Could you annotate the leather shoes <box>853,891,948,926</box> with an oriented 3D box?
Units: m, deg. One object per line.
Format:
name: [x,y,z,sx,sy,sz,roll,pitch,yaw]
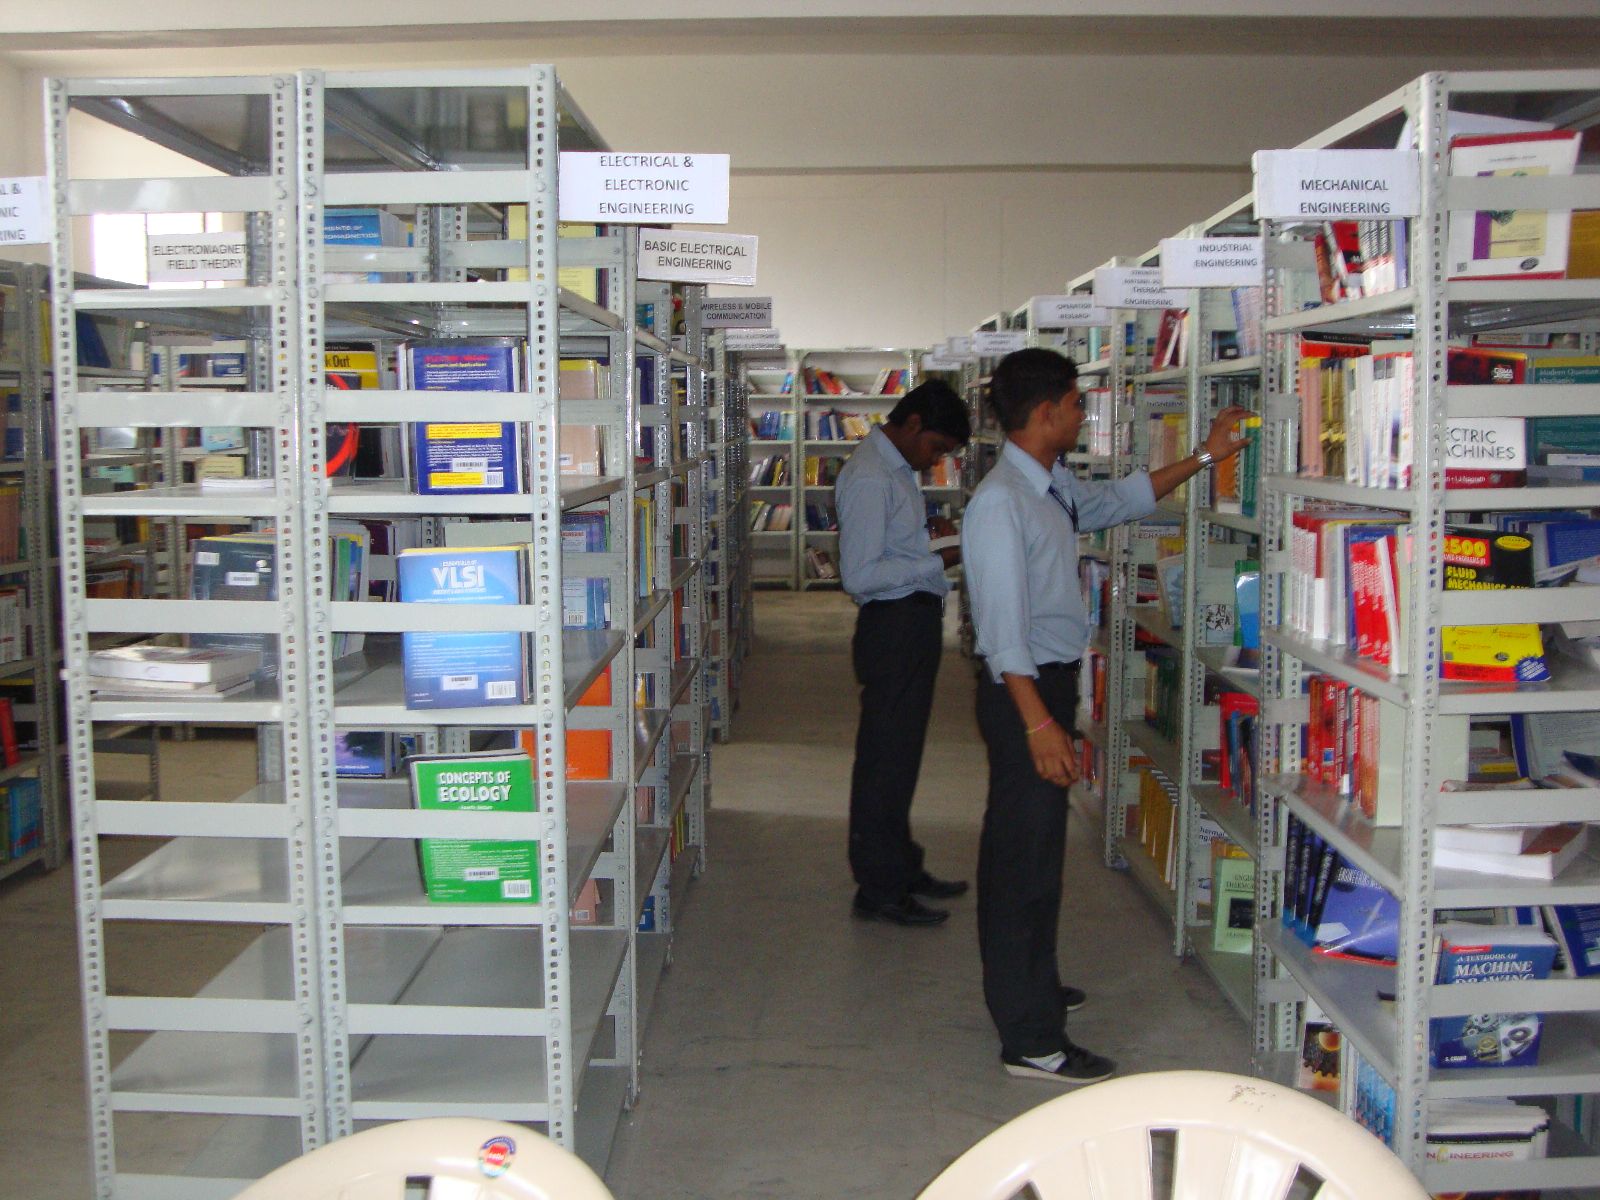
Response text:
leather shoes: [0.354,1.089,4.806,0.357,0.149,0.120,1,5,6]

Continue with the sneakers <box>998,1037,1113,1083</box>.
sneakers: [0.722,1.285,3.745,0.348,0.103,0.132,-3,5,9]

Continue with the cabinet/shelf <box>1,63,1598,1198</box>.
cabinet/shelf: [-0.209,0.124,3.979,3.344,2.440,3.336,0,6,-3]
